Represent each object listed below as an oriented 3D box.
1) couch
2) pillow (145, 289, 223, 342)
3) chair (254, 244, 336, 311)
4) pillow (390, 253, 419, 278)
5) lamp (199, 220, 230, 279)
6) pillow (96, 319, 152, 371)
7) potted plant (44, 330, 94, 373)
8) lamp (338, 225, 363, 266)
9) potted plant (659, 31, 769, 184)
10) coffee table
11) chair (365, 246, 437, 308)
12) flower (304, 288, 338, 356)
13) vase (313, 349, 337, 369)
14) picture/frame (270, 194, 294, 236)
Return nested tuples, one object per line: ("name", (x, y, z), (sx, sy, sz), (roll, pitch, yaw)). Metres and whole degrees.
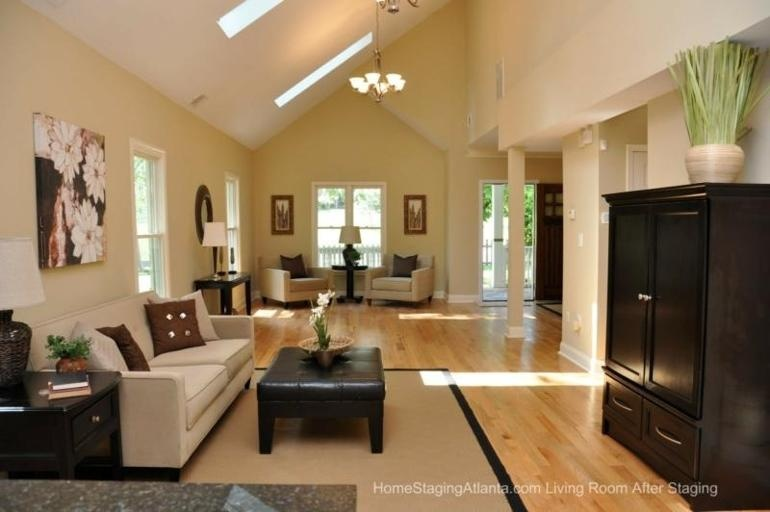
("couch", (-1.905, 0.482, 4.093), (1.005, 1.116, 2.256), (0, 3, -3))
("pillow", (-1.958, 0.623, 5.069), (0.165, 0.515, 0.533), (-20, -8, 23))
("chair", (-1.692, 0.434, 9.586), (1.376, 1.012, 1.411), (0, 1, -8))
("pillow", (0.364, 0.192, 9.526), (0.388, 0.384, 0.144), (3, -16, 12))
("lamp", (-2.375, -0.104, 7.056), (0.312, 0.779, 0.811), (-2, 9, -19))
("pillow", (-2.181, 0.656, 4.116), (0.372, 0.341, 0.193), (8, 15, 30))
("potted plant", (-2.182, 0.688, 3.506), (0.261, 0.232, 0.244), (2, -12, -39))
("lamp", (-0.667, -0.216, 9.750), (0.419, 0.755, 0.636), (0, 8, -3))
("potted plant", (2.340, -1.008, 3.528), (0.540, 0.970, 0.358), (3, 9, 17))
("coffee table", (-0.483, 1.074, 4.174), (0.678, 0.394, 0.989), (0, 2, -2))
("chair", (0.300, 0.412, 9.605), (1.207, 0.928, 1.173), (1, 3, 10))
("flower", (-0.567, 0.701, 4.541), (0.233, 0.295, 0.518), (11, 2, -8))
("vase", (-0.515, 0.862, 4.314), (0.179, 0.119, 0.151), (0, -5, -4))
("picture/frame", (-2.022, -0.824, 10.005), (0.417, 0.760, 0.122), (-2, 9, -15))
